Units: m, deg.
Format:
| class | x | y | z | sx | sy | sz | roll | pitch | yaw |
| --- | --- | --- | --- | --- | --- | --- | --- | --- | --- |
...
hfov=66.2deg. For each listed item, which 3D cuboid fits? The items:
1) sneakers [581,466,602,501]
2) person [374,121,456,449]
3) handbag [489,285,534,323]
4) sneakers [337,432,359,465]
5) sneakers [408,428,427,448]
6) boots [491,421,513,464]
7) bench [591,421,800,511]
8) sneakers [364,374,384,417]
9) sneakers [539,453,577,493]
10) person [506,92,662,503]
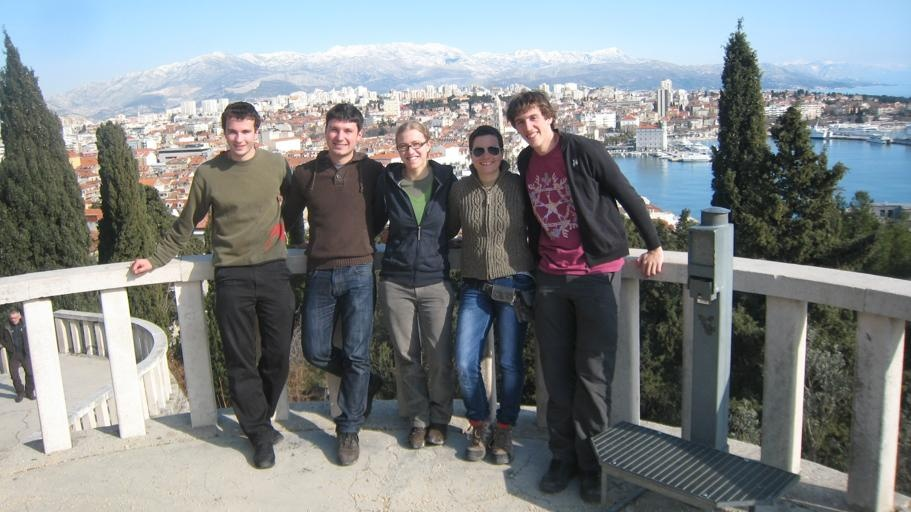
| class | x | y | z | sx | sy | sz | roll | pitch | yaw |
| --- | --- | --- | --- | --- | --- | --- | --- | --- | --- |
| sneakers | 0.976 | 1.677 | 5.062 | 0.100 | 0.104 | 0.279 | -1 | 0 | -4 |
| person | -0.288 | 0.227 | 5.465 | 0.609 | 2.488 | 0.692 | -2 | 15 | 7 |
| handbag | 0.452 | 0.368 | 5.322 | 0.370 | 0.214 | 0.161 | 15 | 11 | 2 |
| sneakers | -0.829 | 1.491 | 5.368 | 0.130 | 0.102 | 0.261 | 0 | 30 | -6 |
| sneakers | -0.304 | 1.435 | 5.487 | 0.103 | 0.079 | 0.190 | -1 | 27 | 0 |
| boots | 0.353 | 1.447 | 5.348 | 0.128 | 0.141 | 0.346 | 0 | 17 | 3 |
| bench | 1.604 | 1.466 | 4.813 | 1.120 | 0.269 | 0.519 | 14 | 25 | 31 |
| sneakers | -0.671 | 1.091 | 5.843 | 0.136 | 0.161 | 0.398 | -2 | 8 | -5 |
| sneakers | 0.768 | 1.608 | 5.212 | 0.187 | 0.165 | 0.420 | 12 | 19 | 37 |
| person | 0.928 | 0.261 | 5.157 | 0.961 | 2.886 | 0.985 | -3 | 15 | 4 |
